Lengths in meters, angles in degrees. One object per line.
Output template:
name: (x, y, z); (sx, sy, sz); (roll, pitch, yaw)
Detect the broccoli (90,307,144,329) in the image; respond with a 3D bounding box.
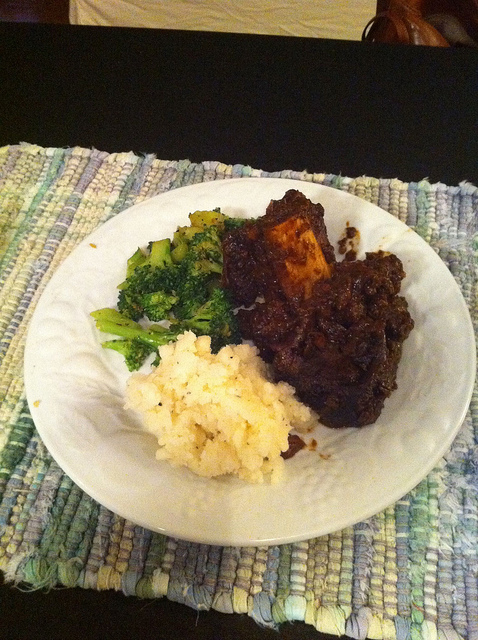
broccoli: (-0.472, -0.002, 2.492); (0.219, 0.058, 0.067); (17, 55, -16)

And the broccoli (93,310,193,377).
broccoli: (-0.364, 0.077, 2.457); (0.397, 0.128, 0.209); (7, 64, 1)

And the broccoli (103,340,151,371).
broccoli: (-0.408, 0.112, 2.378); (0.129, 0.055, 0.123); (28, 56, 20)

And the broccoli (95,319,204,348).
broccoli: (-0.347, 0.050, 2.479); (0.406, 0.110, 0.128); (8, 76, -3)

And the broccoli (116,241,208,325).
broccoli: (-0.304, -0.126, 2.468); (0.319, 0.126, 0.281); (-2, 80, 1)

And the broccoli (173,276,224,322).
broccoli: (-0.168, -0.098, 2.539); (0.121, 0.208, 0.134); (14, 93, 19)

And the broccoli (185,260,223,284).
broccoli: (-0.134, -0.200, 2.523); (0.133, 0.067, 0.088); (-17, 39, -22)

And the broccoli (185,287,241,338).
broccoli: (-0.159, -0.010, 2.401); (0.118, 0.166, 0.145); (-44, 39, -20)

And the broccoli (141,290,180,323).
broccoli: (-0.302, -0.059, 2.494); (0.135, 0.099, 0.111); (-23, 98, 5)
